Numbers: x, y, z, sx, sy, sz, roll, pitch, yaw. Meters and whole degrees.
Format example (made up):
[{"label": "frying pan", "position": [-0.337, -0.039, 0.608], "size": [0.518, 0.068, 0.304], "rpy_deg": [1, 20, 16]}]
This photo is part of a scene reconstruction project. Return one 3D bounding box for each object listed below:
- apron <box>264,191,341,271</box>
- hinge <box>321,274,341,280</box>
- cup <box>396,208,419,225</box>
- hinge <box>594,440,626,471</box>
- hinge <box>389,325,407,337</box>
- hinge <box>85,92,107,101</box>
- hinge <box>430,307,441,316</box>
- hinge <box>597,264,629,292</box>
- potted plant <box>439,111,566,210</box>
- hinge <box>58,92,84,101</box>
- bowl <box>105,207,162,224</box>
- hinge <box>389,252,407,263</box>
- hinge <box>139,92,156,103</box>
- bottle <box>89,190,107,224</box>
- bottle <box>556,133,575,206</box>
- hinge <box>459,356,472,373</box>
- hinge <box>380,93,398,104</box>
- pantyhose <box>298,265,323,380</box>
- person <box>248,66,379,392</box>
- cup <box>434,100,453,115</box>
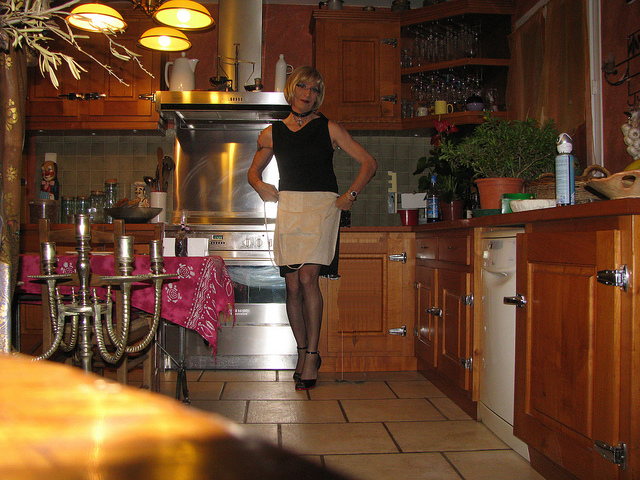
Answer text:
[{"label": "apron", "position": [-0.060, -0.058, 3.100], "size": [0.405, 0.394, 0.205], "rpy_deg": [1, -3, 5]}, {"label": "hinge", "position": [0.062, 0.212, 3.451], "size": [0.109, 0.031, 0.033], "rpy_deg": [1, 3, -1]}, {"label": "cup", "position": [0.523, -0.139, 3.666], "size": [0.105, 0.081, 0.088], "rpy_deg": [0, 1, 35]}, {"label": "hinge", "position": [0.829, 0.609, 1.760], "size": [0.019, 0.049, 0.077], "rpy_deg": [-7, 12, -34]}, {"label": "hinge", "position": [0.441, 0.519, 3.451], "size": [0.078, 0.047, 0.021], "rpy_deg": [0, 2, -5]}, {"label": "hinge", "position": [-1.514, -0.956, 4.119], "size": [0.183, 0.067, 0.045], "rpy_deg": [-1, 2, -4]}, {"label": "hinge", "position": [0.572, 0.358, 3.039], "size": [0.055, 0.029, 0.079], "rpy_deg": [1, 2, 1]}, {"label": "hinge", "position": [0.833, 0.109, 1.753], "size": [0.067, 0.069, 0.022], "rpy_deg": [-2, -12, 12]}, {"label": "potted plant", "position": [0.837, -0.359, 2.787], "size": [0.600, 0.447, 0.496], "rpy_deg": [4, 4, 43]}, {"label": "hinge", "position": [-1.651, -0.954, 4.116], "size": [0.092, 0.028, 0.066], "rpy_deg": [0, 2, 3]}, {"label": "bowl", "position": [-1.111, -0.140, 3.670], "size": [0.313, 0.098, 0.121], "rpy_deg": [0, 3, -19]}, {"label": "hinge", "position": [0.448, 0.104, 3.477], "size": [0.082, 0.030, 0.049], "rpy_deg": [-1, 47, 7]}, {"label": "hinge", "position": [-1.160, -0.953, 4.109], "size": [0.101, 0.060, 0.068], "rpy_deg": [0, 3, -6]}, {"label": "bottle", "position": [-1.606, -0.223, 4.352], "size": [0.139, 0.244, 0.145], "rpy_deg": [6, 5, 0]}, {"label": "bottle", "position": [0.874, -0.250, 2.190], "size": [0.064, 0.257, 0.156], "rpy_deg": [2, 3, 21]}, {"label": "hinge", "position": [0.626, 0.530, 2.629], "size": [0.051, 0.052, 0.015], "rpy_deg": [2, 3, 41]}, {"label": "hinge", "position": [0.458, -0.935, 4.090], "size": [0.090, 0.054, 0.048], "rpy_deg": [1, 5, -30]}, {"label": "pantyhose", "position": [-0.051, 0.413, 3.119], "size": [0.121, 0.575, 0.131], "rpy_deg": [1, 3, 3]}, {"label": "person", "position": [-0.048, -0.054, 3.134], "size": [0.659, 1.627, 0.285], "rpy_deg": [1, 3, 4]}, {"label": "cup", "position": [0.788, -0.844, 4.007], "size": [0.132, 0.093, 0.080], "rpy_deg": [6, -6, -26]}]
